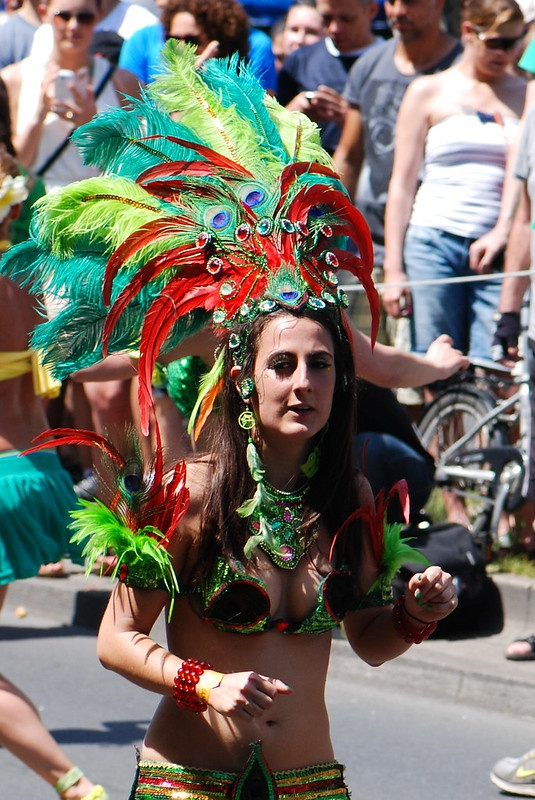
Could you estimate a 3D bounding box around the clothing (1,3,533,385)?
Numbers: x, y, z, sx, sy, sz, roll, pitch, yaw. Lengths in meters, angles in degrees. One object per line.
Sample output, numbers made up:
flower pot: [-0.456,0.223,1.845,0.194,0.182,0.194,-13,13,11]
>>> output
clothing: [-0.146,-0.323,1.554,0.757,0.704,0.306,1,-28,-11]

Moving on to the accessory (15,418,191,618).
accessory: [-0.234,0.217,1.422,0.195,0.329,0.353,-5,5,-40]

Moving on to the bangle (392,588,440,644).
bangle: [0.267,0.392,1.530,0.071,0.087,0.032,12,-4,9]

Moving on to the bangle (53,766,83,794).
bangle: [-0.468,0.895,1.978,0.035,0.066,0.051,45,7,5]

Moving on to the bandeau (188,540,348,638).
bandeau: [0.011,0.338,1.399,0.246,0.168,0.094,-3,4,-22]

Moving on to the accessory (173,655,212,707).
accessory: [-0.113,0.425,1.239,0.056,0.070,0.044,-2,4,3]

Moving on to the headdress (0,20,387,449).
headdress: [-0.176,-0.270,1.915,0.847,0.778,0.394,-34,-16,-9]
